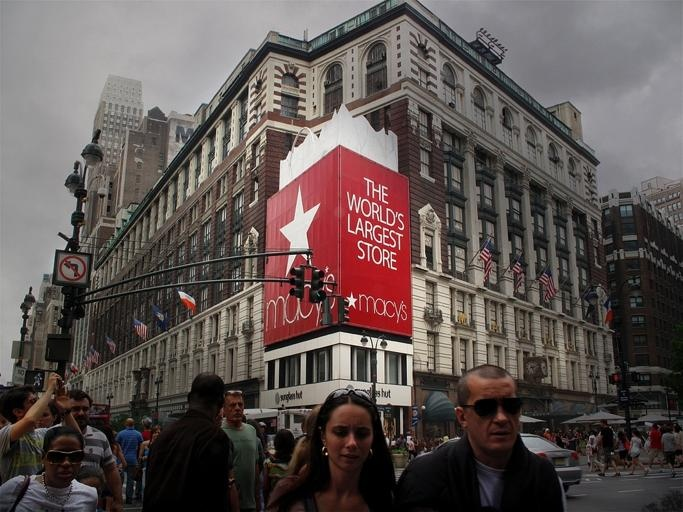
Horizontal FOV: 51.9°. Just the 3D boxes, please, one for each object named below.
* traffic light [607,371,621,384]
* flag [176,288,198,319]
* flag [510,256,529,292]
[{"bbox_3d":[13.001,5.733,33.165,0.514,0.494,0.935,-9,-23,20],"label":"traffic light"},{"bbox_3d":[-12.862,3.971,58.357,0.336,1.536,4.069,-30,18,-8],"label":"flag"},{"bbox_3d":[14.098,1.528,55.837,0.360,1.395,3.075,26,-32,28],"label":"flag"}]
